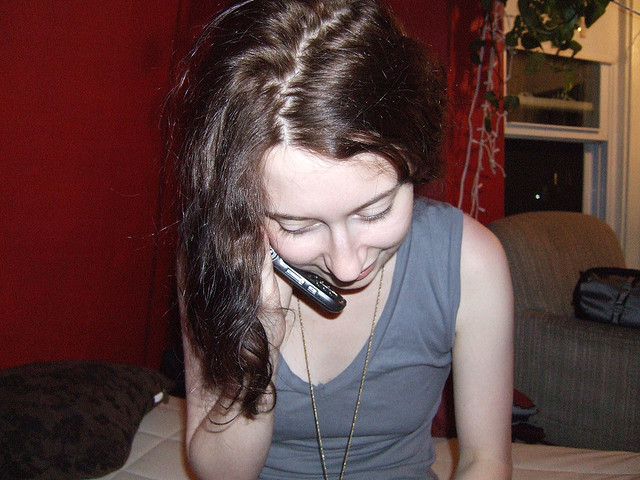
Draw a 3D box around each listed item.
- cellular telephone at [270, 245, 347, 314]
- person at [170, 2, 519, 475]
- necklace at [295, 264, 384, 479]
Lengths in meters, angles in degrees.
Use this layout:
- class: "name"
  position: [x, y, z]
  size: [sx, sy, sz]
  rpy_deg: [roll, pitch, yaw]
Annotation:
- class: "cellular telephone"
  position: [-0.047, 0.127, 1.951]
  size: [0.267, 0.058, 0.158]
  rpy_deg: [38, 6, 13]
- class: "person"
  position: [0.076, 0.051, 1.937]
  size: [1.085, 1.536, 0.521]
  rpy_deg: [0, 6, -16]
- class: "necklace"
  position: [0.065, 0.437, 1.988]
  size: [0.293, 0.694, 0.158]
  rpy_deg: [1, 6, -4]
